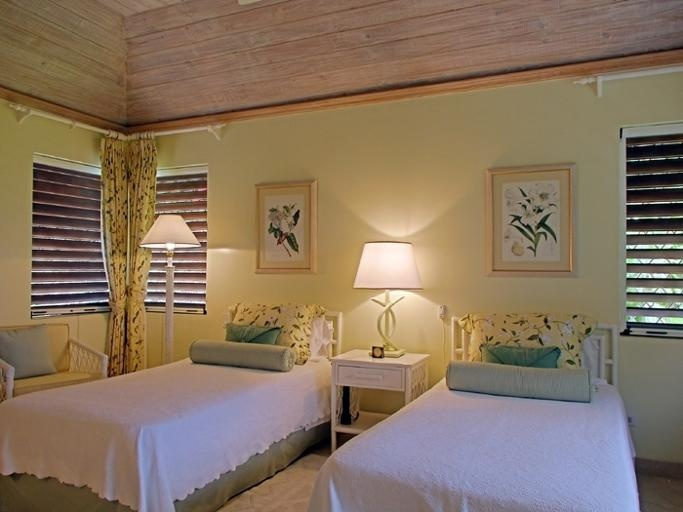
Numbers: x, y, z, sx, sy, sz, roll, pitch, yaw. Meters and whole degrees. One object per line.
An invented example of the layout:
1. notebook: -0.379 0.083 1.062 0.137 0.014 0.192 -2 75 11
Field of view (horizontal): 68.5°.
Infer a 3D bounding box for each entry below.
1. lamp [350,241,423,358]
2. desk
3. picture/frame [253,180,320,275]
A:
1. lamp: 0.418 0.413 4.566 0.603 1.023 0.600 4 8 31
2. desk: 0.336 1.306 4.372 0.738 0.925 0.587 0 0 22
3. picture/frame: -0.526 -0.284 5.056 0.894 1.249 0.053 0 1 25
